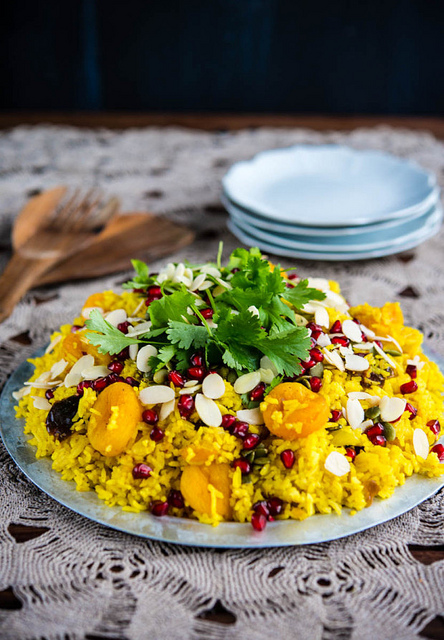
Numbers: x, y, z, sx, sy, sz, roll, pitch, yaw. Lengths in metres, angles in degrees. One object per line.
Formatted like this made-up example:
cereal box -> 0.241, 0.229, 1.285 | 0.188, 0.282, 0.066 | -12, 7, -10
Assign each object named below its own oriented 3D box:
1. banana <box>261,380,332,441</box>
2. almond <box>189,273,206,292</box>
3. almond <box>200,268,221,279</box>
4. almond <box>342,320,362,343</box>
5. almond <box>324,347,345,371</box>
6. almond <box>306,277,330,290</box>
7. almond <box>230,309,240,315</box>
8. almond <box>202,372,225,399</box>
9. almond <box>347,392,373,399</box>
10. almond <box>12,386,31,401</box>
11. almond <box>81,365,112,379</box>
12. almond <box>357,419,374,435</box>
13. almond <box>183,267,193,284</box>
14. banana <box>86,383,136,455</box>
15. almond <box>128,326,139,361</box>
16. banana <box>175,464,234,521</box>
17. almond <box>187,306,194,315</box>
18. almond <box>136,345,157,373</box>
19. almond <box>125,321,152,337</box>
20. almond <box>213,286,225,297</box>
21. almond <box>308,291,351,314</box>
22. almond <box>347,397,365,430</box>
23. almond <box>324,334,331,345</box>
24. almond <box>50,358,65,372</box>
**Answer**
banana -> 0.168, 0.167, 1.274 | 0.116, 0.094, 0.045 | -26, -23, 22
almond -> -0.062, -0.096, 1.548 | 0.048, 0.009, 0.033 | -51, 25, -13
almond -> -0.032, -0.129, 1.630 | 0.037, 0.009, 0.034 | 6, 27, 4
almond -> 0.321, 0.028, 1.496 | 0.045, 0.011, 0.052 | -6, 45, -19
almond -> 0.257, 0.095, 1.421 | 0.051, 0.045, 0.012 | 6, -37, -49
almond -> 0.264, -0.099, 1.684 | 0.071, 0.016, 0.065 | 5, 19, 5
almond -> 0.027, -0.019, 1.432 | 0.014, 0.002, 0.013 | 10, 36, 20
almond -> -0.027, 0.138, 1.283 | 0.048, 0.045, 0.012 | -1, -19, 6
almond -> 0.308, 0.169, 1.362 | 0.025, 0.005, 0.024 | -3, 28, -10
almond -> -0.500, 0.184, 1.508 | 0.043, 0.013, 0.039 | -5, 22, 9
almond -> -0.291, 0.120, 1.389 | 0.056, 0.009, 0.029 | -5, 30, -7
almond -> 0.312, 0.234, 1.327 | 0.022, 0.035, 0.009 | 40, -17, 5
almond -> -0.089, -0.118, 1.589 | 0.028, 0.031, 0.009 | 4, -18, 22
banana -> -0.237, 0.208, 1.281 | 0.109, 0.129, 0.036 | 13, -10, 39
almond -> -0.206, 0.055, 1.437 | 0.022, 0.086, 0.025 | -2, -8, 7
banana -> -0.030, 0.334, 1.216 | 0.092, 0.060, 0.113 | -34, 68, -27
almond -> -0.077, -0.021, 1.463 | 0.018, 0.012, 0.016 | -3, 27, -3
almond -> -0.177, 0.087, 1.378 | 0.047, 0.056, 0.011 | 1, -27, 10
almond -> -0.198, 0.022, 1.459 | 0.034, 0.009, 0.050 | -2, 18, 31
almond -> -0.011, -0.073, 1.554 | 0.029, 0.016, 0.021 | -3, 31, 40
almond -> 0.299, -0.048, 1.622 | 0.084, 0.021, 0.076 | 24, 24, 24
almond -> 0.290, 0.204, 1.325 | 0.041, 0.013, 0.055 | 1, 56, -1
almond -> 0.248, 0.048, 1.439 | 0.008, 0.019, 0.019 | 1, 29, -14
almond -> -0.406, 0.112, 1.494 | 0.036, 0.008, 0.025 | -40, 14, 2
